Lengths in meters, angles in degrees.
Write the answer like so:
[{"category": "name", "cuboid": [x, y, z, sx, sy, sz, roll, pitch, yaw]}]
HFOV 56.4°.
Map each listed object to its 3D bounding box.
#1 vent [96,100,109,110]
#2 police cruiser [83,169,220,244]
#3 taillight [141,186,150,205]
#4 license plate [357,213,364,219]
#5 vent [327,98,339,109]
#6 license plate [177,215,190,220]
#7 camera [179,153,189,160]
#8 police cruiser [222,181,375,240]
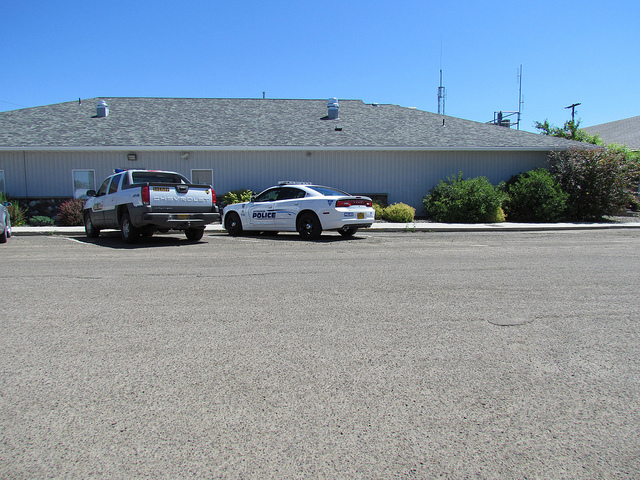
[{"category": "vent", "cuboid": [-10.151, -6.333, 27.892, 0.484, 0.316, 0.494, -8, 13, -33]}, {"category": "police cruiser", "cuboid": [-4.985, -0.946, 16.337, 5.089, 1.863, 2.191, 4, 7, 43]}, {"category": "taillight", "cuboid": [-4.128, -1.063, 14.086, 0.192, 0.429, 0.036, -2, 5, -2]}, {"category": "license plate", "cuboid": [1.078, -0.654, 15.916, 0.194, 0.150, 0.111, -3, 1, -4]}, {"category": "vent", "cuboid": [0.613, -6.680, 29.314, 0.470, 0.476, 1.551, -2, 6, -1]}, {"category": "license plate", "cuboid": [-3.375, -0.574, 14.745, 0.036, 0.124, 0.349, 3, 7, 41]}, {"category": "camera", "cuboid": [-5.834, -3.603, 25.563, 0.227, 0.103, 0.322, -18, 5, -38]}, {"category": "police cruiser", "cuboid": [-0.834, -0.955, 17.736, 4.895, 1.747, 2.053, 1, 4, 38]}]
